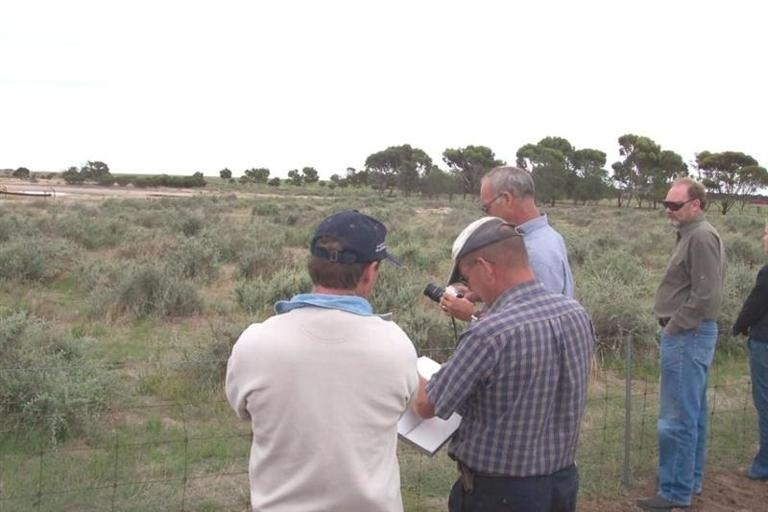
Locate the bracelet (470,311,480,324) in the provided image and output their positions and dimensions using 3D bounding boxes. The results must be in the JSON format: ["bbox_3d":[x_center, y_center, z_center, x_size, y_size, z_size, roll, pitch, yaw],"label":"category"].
[{"bbox_3d":[0.943,0.632,8.032,0.095,0.106,0.085,15,5,34],"label":"bracelet"}]

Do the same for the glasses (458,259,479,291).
[{"bbox_3d":[0.841,0.202,7.827,0.112,0.292,0.217,-40,-33,28],"label":"glasses"}]

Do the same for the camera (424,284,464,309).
[{"bbox_3d":[0.637,0.397,8.320,0.377,0.170,0.201,32,5,31],"label":"camera"}]

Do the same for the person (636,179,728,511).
[{"bbox_3d":[3.697,1.071,9.544,0.700,4.013,0.971,5,8,39],"label":"person"}]

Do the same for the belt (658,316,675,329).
[{"bbox_3d":[3.537,0.849,9.714,0.110,0.222,0.150,-20,-5,15],"label":"belt"}]
